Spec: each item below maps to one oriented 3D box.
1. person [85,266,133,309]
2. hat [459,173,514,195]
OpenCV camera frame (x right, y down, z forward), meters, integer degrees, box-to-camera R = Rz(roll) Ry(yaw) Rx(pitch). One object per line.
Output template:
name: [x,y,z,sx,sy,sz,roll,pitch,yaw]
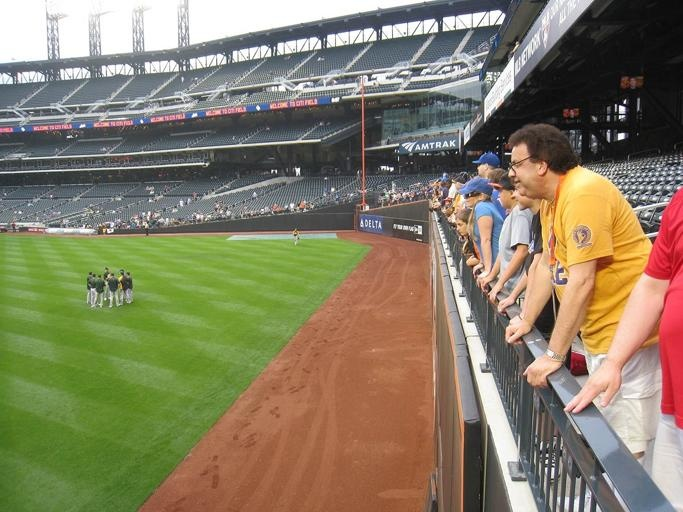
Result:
person: [-6.245,0.881,14.906,0.768,0.683,0.438,-2,17,-13]
hat: [1.692,-0.825,6.550,0.459,0.163,0.307,-7,6,19]
